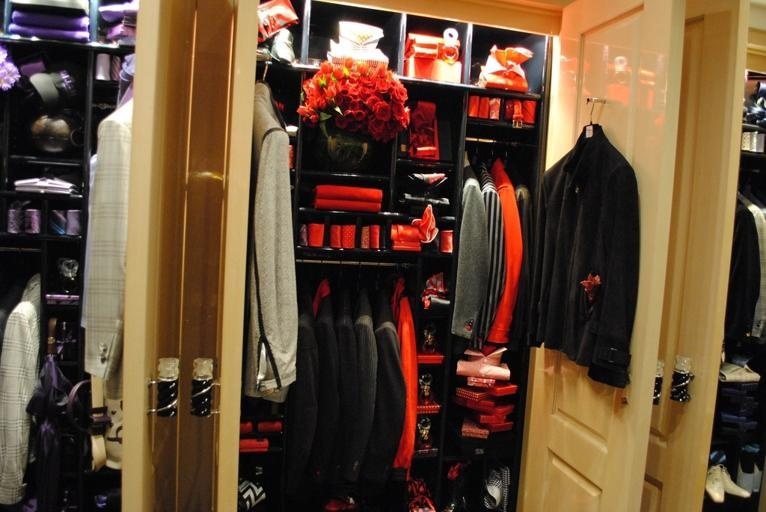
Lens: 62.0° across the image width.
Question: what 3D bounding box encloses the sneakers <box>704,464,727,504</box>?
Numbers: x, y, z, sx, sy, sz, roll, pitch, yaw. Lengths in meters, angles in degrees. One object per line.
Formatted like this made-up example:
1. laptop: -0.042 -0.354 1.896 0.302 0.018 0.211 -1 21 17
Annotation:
1. sneakers: 1.828 1.251 3.556 0.095 0.115 0.309 -2 14 16

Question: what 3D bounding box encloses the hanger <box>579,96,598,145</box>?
1. hanger: 1.098 -0.733 3.391 0.067 0.187 0.120 3 -1 -16

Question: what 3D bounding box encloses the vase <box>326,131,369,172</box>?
1. vase: -0.208 -0.594 3.644 0.201 0.151 0.207 1 5 -6

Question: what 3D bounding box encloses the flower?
1. flower: -0.153 -0.811 3.623 0.480 0.450 0.491 13 9 36

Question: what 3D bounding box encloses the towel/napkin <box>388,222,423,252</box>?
1. towel/napkin: 0.137 -0.104 3.726 0.193 0.143 0.058 3 -1 -5
